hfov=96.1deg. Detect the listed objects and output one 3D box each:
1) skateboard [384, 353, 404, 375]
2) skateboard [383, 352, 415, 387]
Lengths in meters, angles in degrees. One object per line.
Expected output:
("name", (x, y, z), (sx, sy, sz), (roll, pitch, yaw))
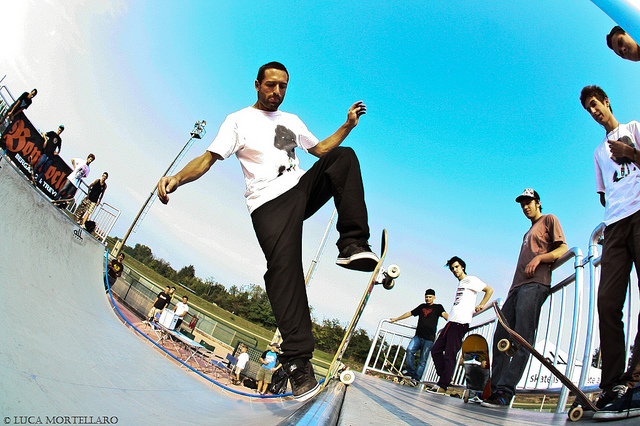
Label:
("skateboard", (2.059, 4.259, 8.090), (0.126, 0.761, 0.128), (11, -56, -45))
("skateboard", (2.077, 4.390, 7.920), (0.251, 1.350, 0.201), (-40, -41, 6))
